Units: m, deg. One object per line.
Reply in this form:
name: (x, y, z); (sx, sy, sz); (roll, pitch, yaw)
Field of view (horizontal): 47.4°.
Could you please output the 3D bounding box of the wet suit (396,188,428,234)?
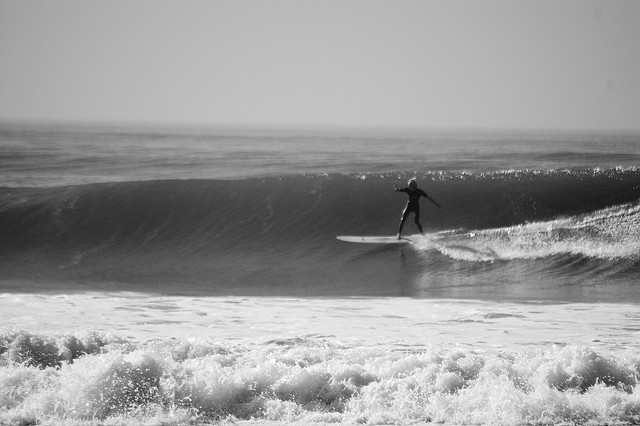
wet suit: (1.661, -0.004, 13.479); (0.500, 0.937, 0.806); (1, 13, 6)
